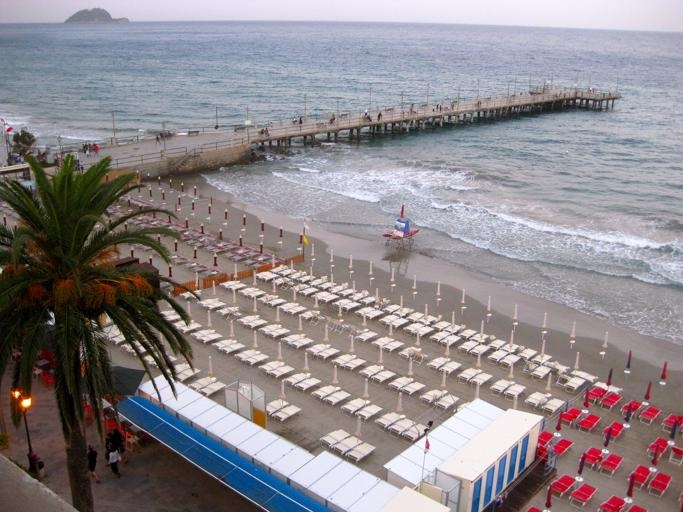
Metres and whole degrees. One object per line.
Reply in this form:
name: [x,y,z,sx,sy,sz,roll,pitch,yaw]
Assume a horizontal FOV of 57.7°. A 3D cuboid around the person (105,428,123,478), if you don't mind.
person: [-8.919,7.754,24.217,0.674,1.612,1.280,-10,26,-12]
